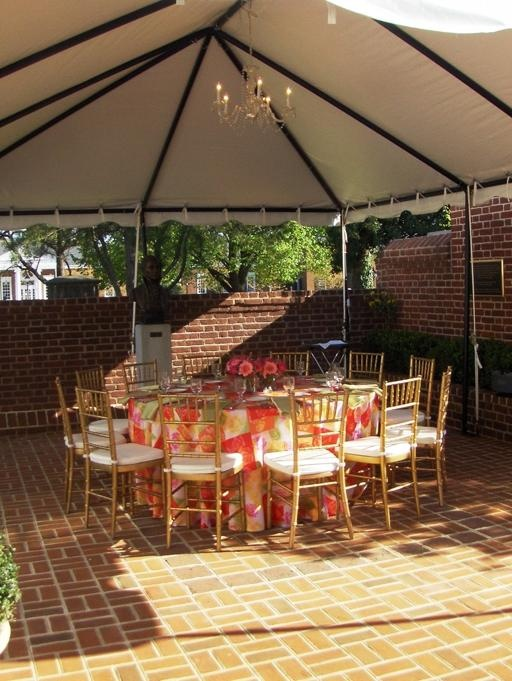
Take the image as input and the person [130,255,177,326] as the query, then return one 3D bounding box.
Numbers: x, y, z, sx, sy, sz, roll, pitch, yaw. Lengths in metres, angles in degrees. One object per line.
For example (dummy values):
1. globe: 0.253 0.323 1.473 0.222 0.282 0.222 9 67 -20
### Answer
1. person: -1.478 -0.666 8.021 0.501 0.853 1.320 -2 1 -9
